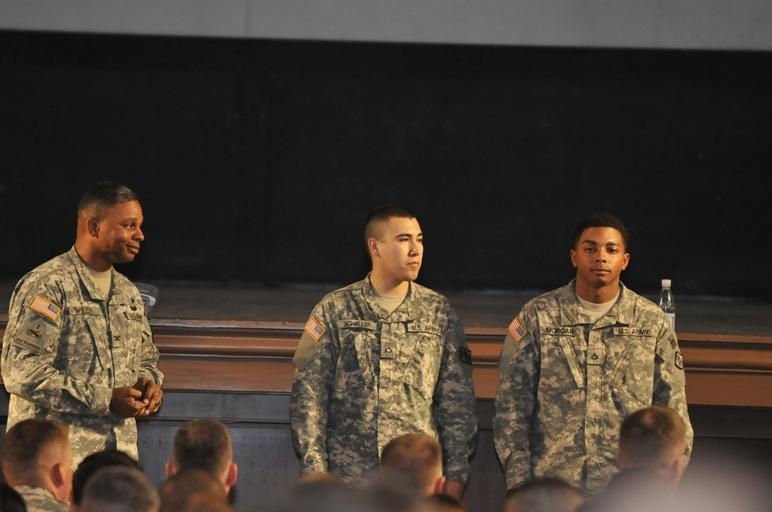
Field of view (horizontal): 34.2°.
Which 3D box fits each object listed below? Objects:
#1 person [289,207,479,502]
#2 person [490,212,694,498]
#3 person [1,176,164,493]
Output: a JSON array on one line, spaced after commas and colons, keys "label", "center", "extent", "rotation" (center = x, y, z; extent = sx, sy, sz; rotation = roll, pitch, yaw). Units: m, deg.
[{"label": "person", "center": [0.008, 0.631, 8.387], "extent": [1.266, 1.879, 0.325], "rotation": [5, -12, 3]}, {"label": "person", "center": [1.379, 1.130, 8.537], "extent": [1.410, 2.636, 0.696], "rotation": [2, 3, 19]}, {"label": "person", "center": [-1.982, 0.455, 8.340], "extent": [1.067, 1.887, 0.530], "rotation": [9, -13, -15]}]
